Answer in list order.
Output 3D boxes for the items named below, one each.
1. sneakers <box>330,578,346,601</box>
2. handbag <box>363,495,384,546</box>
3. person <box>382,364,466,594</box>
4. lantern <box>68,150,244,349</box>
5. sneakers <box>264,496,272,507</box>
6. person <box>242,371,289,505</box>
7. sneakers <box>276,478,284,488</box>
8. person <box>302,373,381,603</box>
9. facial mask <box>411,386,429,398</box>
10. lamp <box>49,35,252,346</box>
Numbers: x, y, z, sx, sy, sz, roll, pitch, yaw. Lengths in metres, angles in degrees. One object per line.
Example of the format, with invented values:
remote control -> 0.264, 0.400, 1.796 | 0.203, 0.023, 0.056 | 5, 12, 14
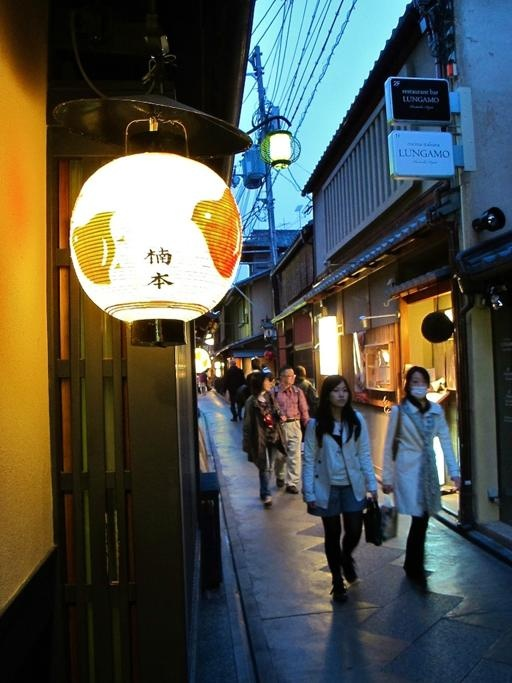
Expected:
sneakers -> 0.694, 2.098, 5.011 | 0.128, 0.177, 0.149 | -4, -2, 16
handbag -> 0.985, 1.522, 4.992 | 0.169, 0.404, 0.263 | -3, -2, 10
person -> 1.504, 1.199, 5.487 | 0.704, 1.333, 0.424 | -4, -2, 19
lantern -> -0.349, -0.324, 2.371 | 0.671, 0.859, 0.690 | 0, -5, -5
sneakers -> 0.177, 2.280, 8.426 | 0.072, 0.122, 0.123 | 0, -25, 2
person -> 0.115, 1.399, 8.762 | 0.483, 1.894, 0.614 | -5, -3, 38
sneakers -> 0.393, 2.301, 9.652 | 0.108, 0.131, 0.302 | 0, -15, -1
person -> 0.721, 1.249, 5.187 | 0.620, 1.898, 0.541 | -3, -2, 5
facial mask -> 1.521, 0.469, 5.564 | 0.116, 0.073, 0.120 | 0, -2, 4
lamp -> -0.381, -0.496, 2.324 | 0.707, 0.996, 0.635 | -2, 3, 0
